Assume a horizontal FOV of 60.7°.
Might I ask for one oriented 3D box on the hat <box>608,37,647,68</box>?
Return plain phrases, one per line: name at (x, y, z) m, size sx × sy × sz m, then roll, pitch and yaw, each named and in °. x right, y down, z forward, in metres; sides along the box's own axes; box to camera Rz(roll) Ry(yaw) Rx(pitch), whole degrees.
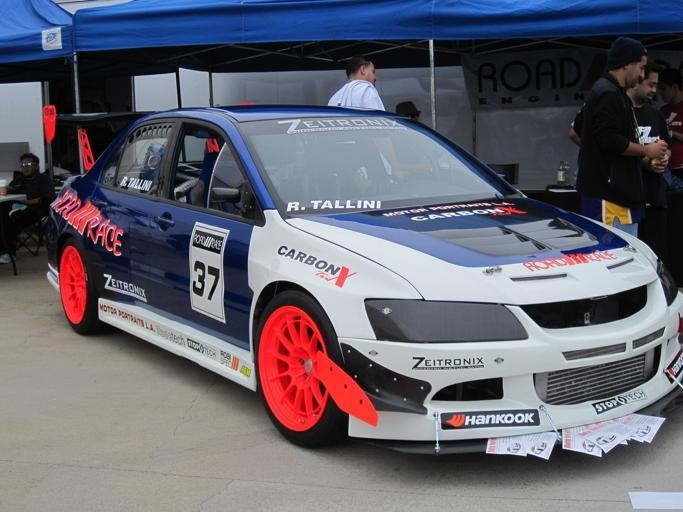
hat at (2.210, -1.569, 4.536) m, size 0.300 × 0.247 × 0.289 m, roll 4°, pitch 28°, yaw 25°
